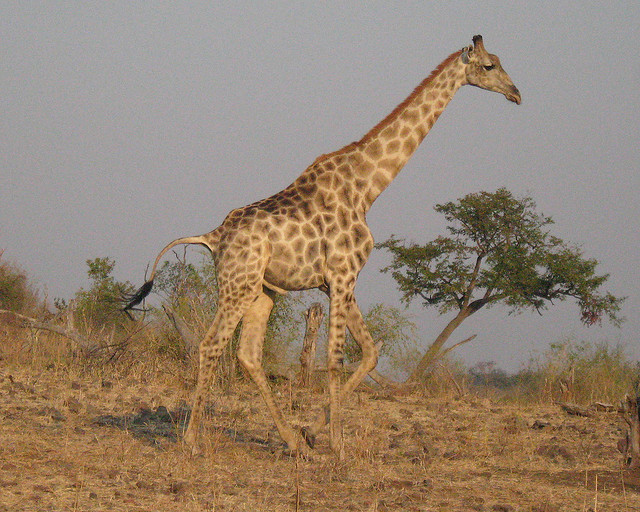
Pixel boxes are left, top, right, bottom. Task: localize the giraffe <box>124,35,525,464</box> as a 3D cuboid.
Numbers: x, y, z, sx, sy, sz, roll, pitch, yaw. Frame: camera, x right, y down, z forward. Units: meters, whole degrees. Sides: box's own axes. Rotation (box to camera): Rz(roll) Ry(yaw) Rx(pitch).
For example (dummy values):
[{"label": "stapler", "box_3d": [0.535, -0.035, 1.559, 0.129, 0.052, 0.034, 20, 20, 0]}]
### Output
[{"label": "giraffe", "box_3d": [-0.139, -0.226, 22.423, 4.354, 8.131, 6.494, 25, -33, -37]}]
